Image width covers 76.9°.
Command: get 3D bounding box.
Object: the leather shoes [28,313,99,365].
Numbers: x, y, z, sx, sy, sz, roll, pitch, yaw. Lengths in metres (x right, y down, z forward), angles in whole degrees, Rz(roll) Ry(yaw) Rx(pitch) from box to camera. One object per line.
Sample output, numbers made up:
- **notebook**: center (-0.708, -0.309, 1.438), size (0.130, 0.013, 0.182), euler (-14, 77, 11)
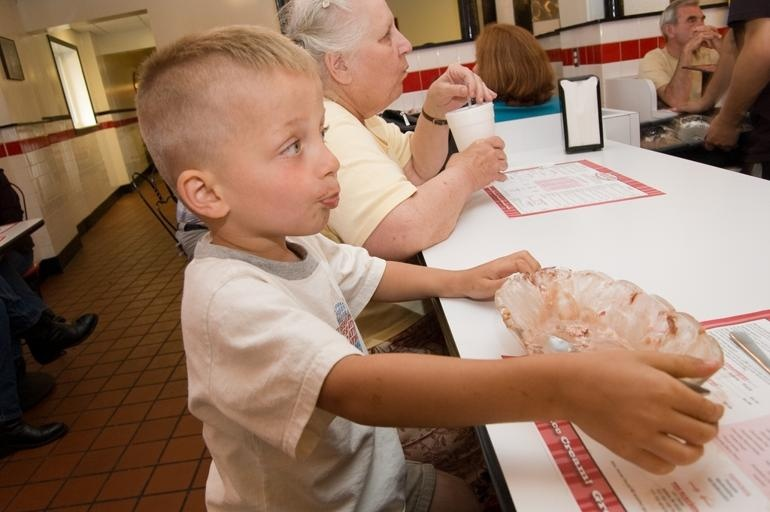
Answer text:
- **leather shoes**: center (-2.091, 0.546, 3.106), size (0.388, 0.278, 0.155), euler (-33, 50, -32)
